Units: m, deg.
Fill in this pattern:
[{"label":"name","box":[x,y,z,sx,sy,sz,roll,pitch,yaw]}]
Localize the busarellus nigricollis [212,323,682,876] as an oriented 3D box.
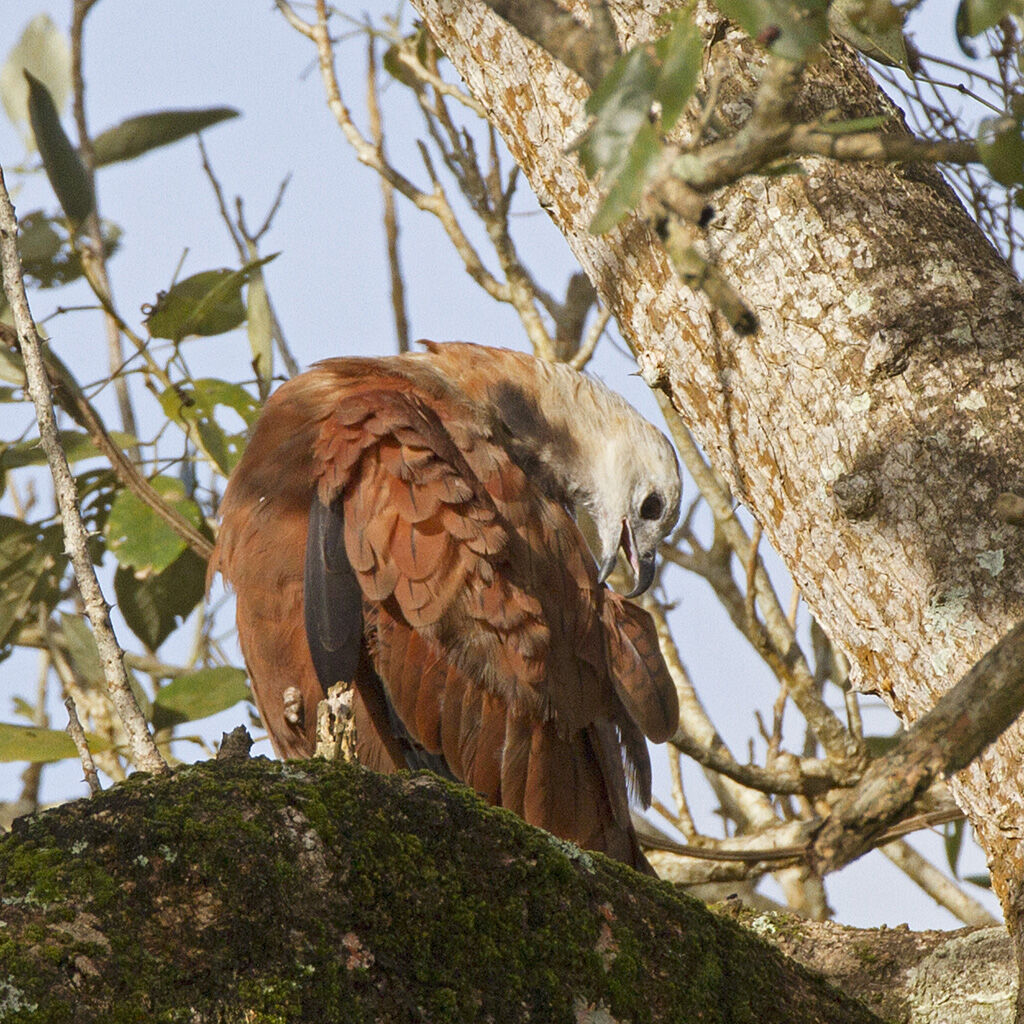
[{"label":"busarellus nigricollis","box":[-0.084,0.250,5.310,1.088,1.290,0.689,16,-44,-33]}]
